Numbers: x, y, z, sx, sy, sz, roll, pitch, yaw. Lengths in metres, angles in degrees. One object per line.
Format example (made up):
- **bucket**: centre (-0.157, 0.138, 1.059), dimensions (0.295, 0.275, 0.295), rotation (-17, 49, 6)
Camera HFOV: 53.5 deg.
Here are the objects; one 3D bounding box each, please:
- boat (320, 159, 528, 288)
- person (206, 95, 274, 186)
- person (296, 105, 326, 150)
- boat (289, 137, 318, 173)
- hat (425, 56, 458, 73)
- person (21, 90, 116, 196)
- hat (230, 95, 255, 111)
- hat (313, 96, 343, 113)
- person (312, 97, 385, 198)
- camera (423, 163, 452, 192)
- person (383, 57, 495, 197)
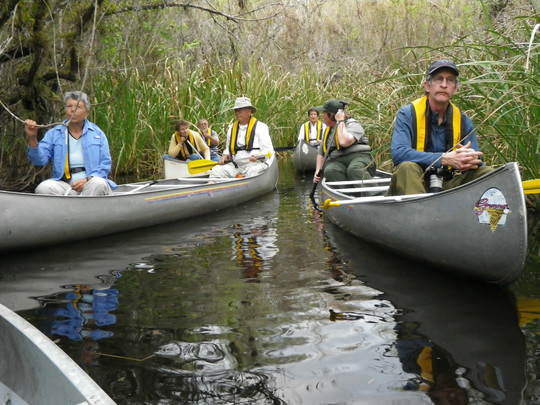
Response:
- **boat**: centre (0.941, 0.074, 4.321), dimensions (0.704, 0.669, 2.289), rotation (-4, 4, -17)
- **person**: centre (-0.413, -0.866, 7.942), dimensions (0.930, 1.390, 0.756), rotation (1, 5, 16)
- **person**: centre (0.904, -1.604, 11.544), dimensions (0.624, 0.925, 0.570), rotation (1, -5, -6)
- **boat**: centre (0.680, -1.097, 10.793), dimensions (0.545, 0.378, 1.050), rotation (2, 4, 12)
- **hat**: centre (1.356, -1.080, 4.216), dimensions (0.237, 0.133, 0.213), rotation (2, 13, 16)
- **person**: centre (-2.027, -0.589, 5.368), dimensions (0.843, 1.084, 0.950), rotation (17, 18, 38)
- **hat**: centre (-0.390, -1.428, 7.618), dimensions (0.281, 0.134, 0.323), rotation (-1, 3, 10)
- **hat**: centre (0.677, -1.160, 6.406), dimensions (0.337, 0.122, 0.219), rotation (9, 20, 42)
- **person**: centre (0.799, -0.541, 6.493), dimensions (0.787, 1.412, 0.649), rotation (-12, -9, 24)
- **camera**: centre (1.291, -0.177, 4.248), dimensions (0.129, 0.249, 0.136), rotation (3, -7, -20)
- **person**: centre (1.391, -0.523, 4.278), dimensions (0.793, 1.198, 0.941), rotation (5, 13, 13)
